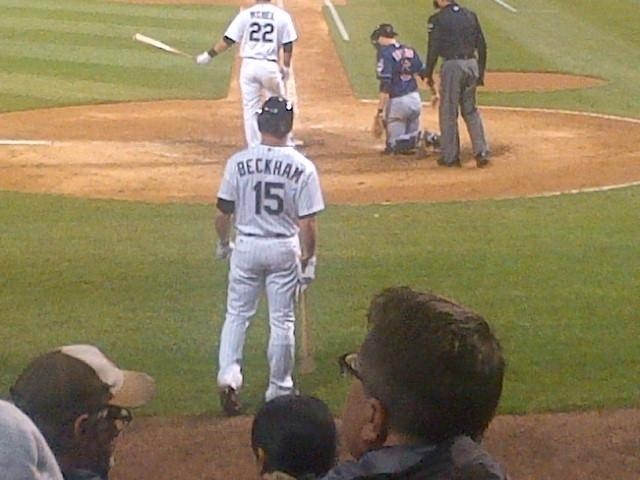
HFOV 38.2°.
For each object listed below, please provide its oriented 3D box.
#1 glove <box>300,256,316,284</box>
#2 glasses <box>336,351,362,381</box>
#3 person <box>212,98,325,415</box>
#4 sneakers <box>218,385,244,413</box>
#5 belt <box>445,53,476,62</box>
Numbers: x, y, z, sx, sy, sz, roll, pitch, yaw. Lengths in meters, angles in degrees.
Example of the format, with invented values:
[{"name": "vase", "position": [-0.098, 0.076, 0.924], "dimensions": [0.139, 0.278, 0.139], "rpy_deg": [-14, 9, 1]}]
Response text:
[{"name": "glove", "position": [-0.086, 0.290, 9.412], "dimensions": [0.145, 0.263, 0.245], "rpy_deg": [6, 12, 9]}, {"name": "glasses", "position": [0.240, 0.942, 7.168], "dimensions": [0.214, 0.074, 0.230], "rpy_deg": [29, 48, 3]}, {"name": "person", "position": [-0.504, 0.093, 9.018], "dimensions": [1.015, 2.847, 0.920], "rpy_deg": [0, 15, -8]}, {"name": "sneakers", "position": [-0.863, 1.526, 8.843], "dimensions": [0.177, 0.263, 0.098], "rpy_deg": [2, -13, -21]}, {"name": "belt", "position": [2.050, -2.711, 13.570], "dimensions": [0.488, 0.139, 0.213], "rpy_deg": [3, 16, -2]}]
